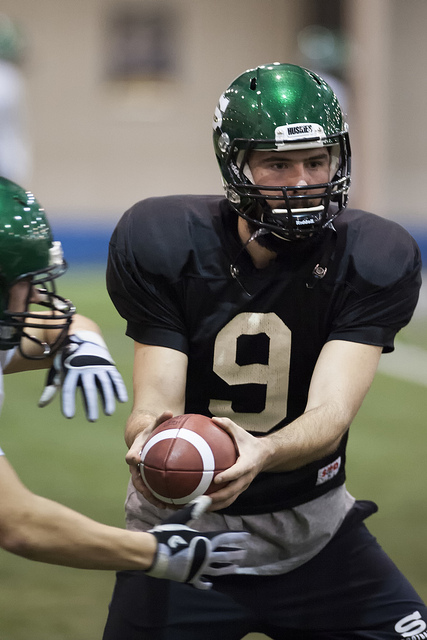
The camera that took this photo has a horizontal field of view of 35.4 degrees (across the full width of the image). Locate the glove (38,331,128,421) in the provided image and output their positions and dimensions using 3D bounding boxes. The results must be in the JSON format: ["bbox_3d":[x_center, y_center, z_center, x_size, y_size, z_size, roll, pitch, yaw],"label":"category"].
[{"bbox_3d":[-0.307,0.130,1.555,0.200,0.074,0.258,-1,50,-14],"label":"glove"}]

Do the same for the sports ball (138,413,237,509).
[{"bbox_3d":[-0.055,0.279,1.341,0.223,0.180,0.244,4,-2,0],"label":"sports ball"}]
